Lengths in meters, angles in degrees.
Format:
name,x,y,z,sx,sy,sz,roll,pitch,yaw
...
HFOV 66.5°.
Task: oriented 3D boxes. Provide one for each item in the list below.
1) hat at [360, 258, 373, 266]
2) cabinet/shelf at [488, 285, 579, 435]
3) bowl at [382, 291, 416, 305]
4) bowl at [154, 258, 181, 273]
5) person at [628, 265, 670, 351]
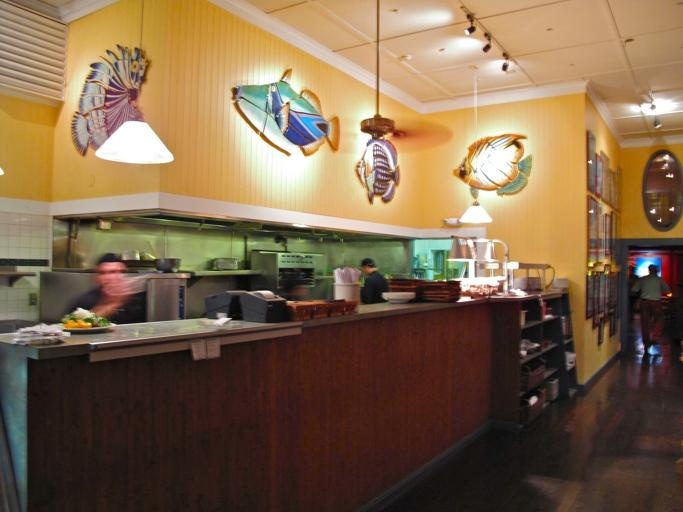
name,x,y,z,sx,sy,sz,roll,pitch,yaw
hat,0.354,0.084,7.309,0.135,0.116,0.103,-14,-6,31
cabinet/shelf,2.402,1.350,6.629,0.490,1.135,1.561,-4,-4,27
bowl,0.556,0.399,5.055,0.297,0.102,0.204,-1,-1,4
bowl,-1.963,0.107,5.890,0.251,0.152,0.222,0,-1,-26
person,6.958,1.135,11.736,0.658,1.879,1.483,-1,-2,31
